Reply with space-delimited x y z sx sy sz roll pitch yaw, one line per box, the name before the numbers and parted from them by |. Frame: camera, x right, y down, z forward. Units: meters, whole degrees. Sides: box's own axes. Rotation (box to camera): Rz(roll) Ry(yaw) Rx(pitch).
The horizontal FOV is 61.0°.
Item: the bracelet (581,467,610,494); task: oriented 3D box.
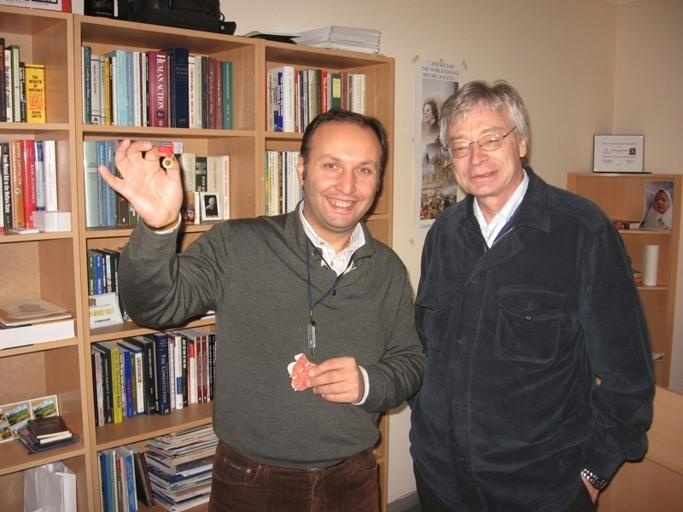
bracelet | 0.961 0.855 2.220 0.112 0.066 0.039 36 21 12
